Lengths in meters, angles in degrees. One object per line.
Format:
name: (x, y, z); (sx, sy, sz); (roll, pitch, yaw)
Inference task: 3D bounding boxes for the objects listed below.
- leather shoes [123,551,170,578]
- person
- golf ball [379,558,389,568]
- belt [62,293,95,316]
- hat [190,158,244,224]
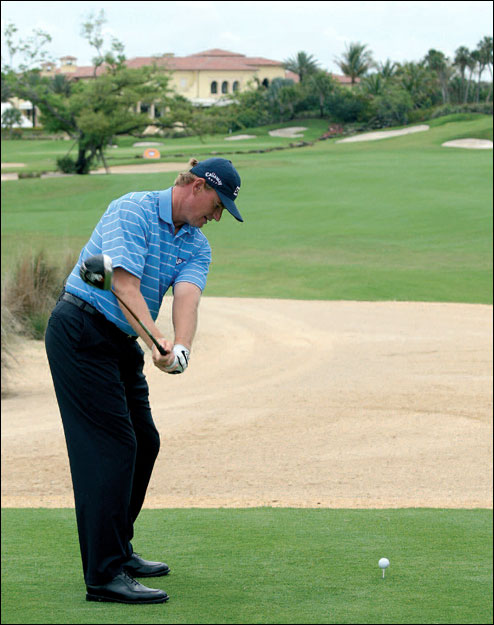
leather shoes: (-0.481, 1.198, 6.068); (0.234, 0.093, 0.089); (0, 1, -5)
person: (-0.468, 0.292, 5.906); (0.769, 1.964, 0.591); (-8, 15, -36)
golf ball: (0.643, 1.192, 6.099); (0.047, 0.053, 0.045); (1, 15, 0)
belt: (-0.762, -0.043, 5.806); (0.109, 0.025, 0.103); (29, 2, -32)
hat: (-0.119, -0.568, 5.968); (0.326, 0.197, 0.205); (38, 5, -5)
